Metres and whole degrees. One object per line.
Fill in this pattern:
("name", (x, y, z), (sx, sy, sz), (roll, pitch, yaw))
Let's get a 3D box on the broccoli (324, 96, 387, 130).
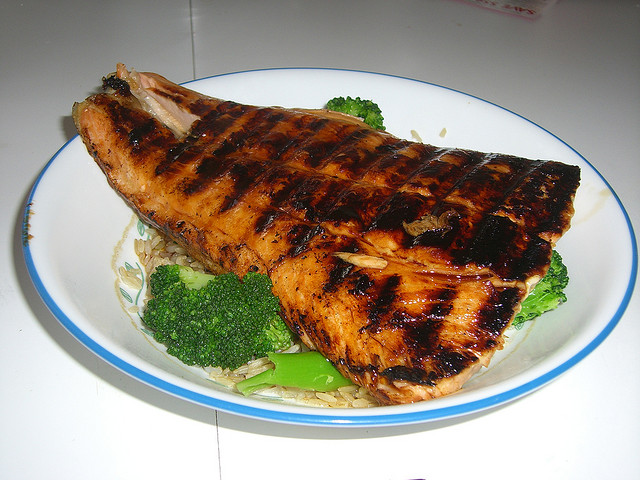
("broccoli", (0.288, -1.023, 4.221), (0.382, 0.122, 0.301), (-9, 40, -29))
